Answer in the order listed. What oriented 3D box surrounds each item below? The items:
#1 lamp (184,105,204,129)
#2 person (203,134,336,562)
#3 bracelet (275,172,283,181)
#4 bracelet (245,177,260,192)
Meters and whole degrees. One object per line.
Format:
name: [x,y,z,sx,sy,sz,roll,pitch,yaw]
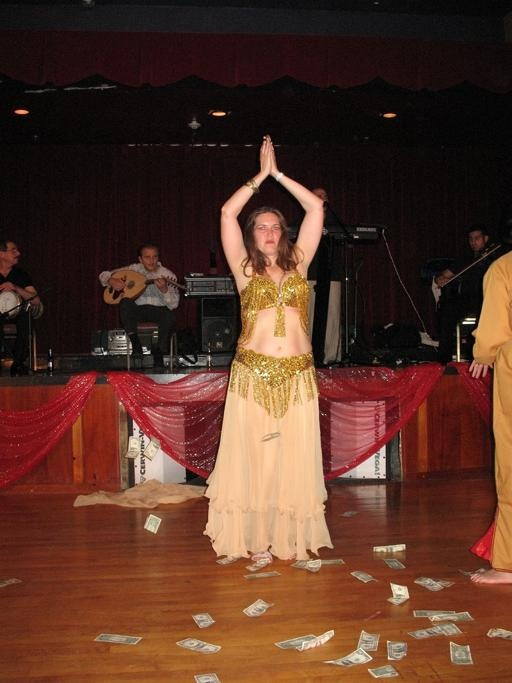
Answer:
lamp: [-0.711,-2.596,7.679,0.202,0.173,0.095,-1,10,-5]
person: [0.057,0.035,3.100,0.597,1.946,0.288,-1,-2,-4]
bracelet: [0.108,-0.760,3.056,0.017,0.041,0.037,38,16,-6]
bracelet: [-0.019,-0.726,3.085,0.069,0.066,0.028,-10,9,-24]
